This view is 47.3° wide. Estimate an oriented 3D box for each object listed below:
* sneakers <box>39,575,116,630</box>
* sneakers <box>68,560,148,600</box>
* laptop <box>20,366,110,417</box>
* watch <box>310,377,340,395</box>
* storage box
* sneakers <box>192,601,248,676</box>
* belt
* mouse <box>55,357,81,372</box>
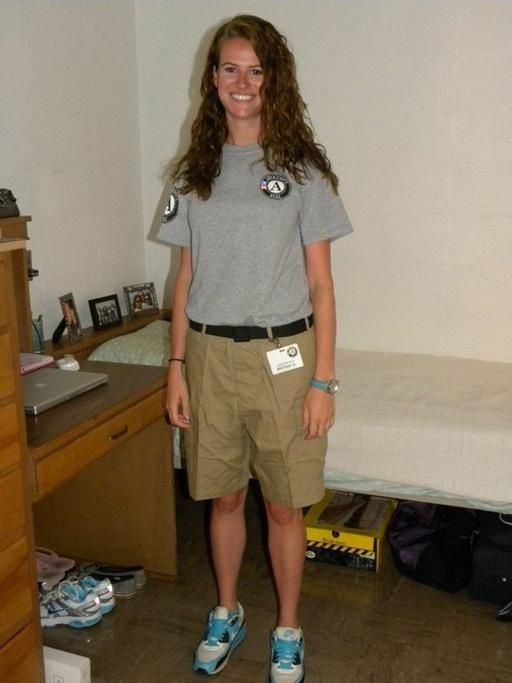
[{"bbox_3d":[-0.527,0.756,1.755,0.245,0.104,0.171,3,7,18],"label":"sneakers"},{"bbox_3d":[-0.450,0.749,1.908,0.286,0.094,0.097,7,5,8],"label":"sneakers"},{"bbox_3d":[-0.555,0.127,1.519,0.198,0.044,0.311,2,15,18],"label":"laptop"},{"bbox_3d":[0.156,0.097,1.333,0.054,0.029,0.053,1,-5,19],"label":"watch"},{"bbox_3d":[0.360,0.635,2.148,0.294,0.170,0.296,3,9,23],"label":"storage box"},{"bbox_3d":[-0.088,0.782,1.550,0.074,0.089,0.199,2,6,14],"label":"sneakers"},{"bbox_3d":[-0.012,-0.029,1.353,0.287,0.043,0.096,-1,14,4],"label":"belt"},{"bbox_3d":[-0.570,0.058,1.754,0.063,0.035,0.060,0,7,-13],"label":"mouse"}]
